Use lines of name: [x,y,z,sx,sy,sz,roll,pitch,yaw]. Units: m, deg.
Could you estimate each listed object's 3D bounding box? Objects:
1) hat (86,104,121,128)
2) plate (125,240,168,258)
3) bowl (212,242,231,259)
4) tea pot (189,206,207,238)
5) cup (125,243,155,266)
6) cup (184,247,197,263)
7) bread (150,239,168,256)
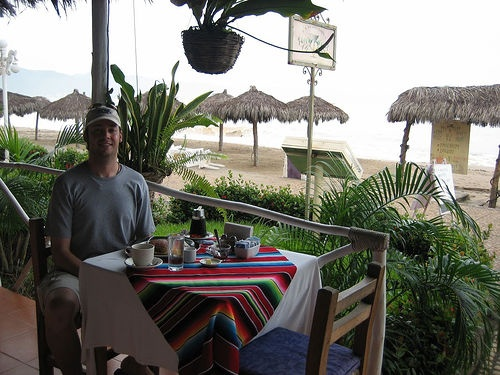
hat: [-0.946,-0.468,2.510,0.132,0.101,0.184,2,11,-16]
plate: [-0.522,0.316,2.055,0.138,0.111,0.108,3,8,12]
bowl: [-0.152,0.327,2.058,0.080,0.061,0.084,0,5,0]
tea pot: [-0.336,0.213,2.394,0.140,0.172,0.149,1,6,0]
cup: [-0.530,0.326,1.892,0.108,0.089,0.087,0,1,29]
cup: [-0.304,0.349,1.975,0.048,0.057,0.076,2,-3,-8]
bread: [-0.475,0.317,2.052,0.068,0.051,0.085,3,5,0]
